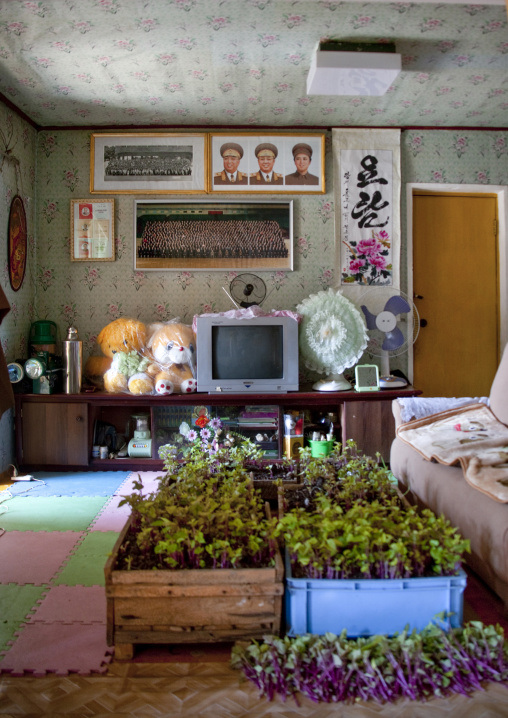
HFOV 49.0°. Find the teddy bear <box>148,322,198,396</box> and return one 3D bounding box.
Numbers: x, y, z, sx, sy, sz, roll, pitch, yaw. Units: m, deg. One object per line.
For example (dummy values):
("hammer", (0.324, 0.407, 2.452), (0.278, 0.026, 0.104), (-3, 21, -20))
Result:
("teddy bear", (-0.528, -0.002, 3.616), (0.318, 0.439, 0.269), (-5, 4, -8))

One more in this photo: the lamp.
("lamp", (0.526, -1.514, 2.891), (0.257, 0.065, 0.270), (0, 0, -7))

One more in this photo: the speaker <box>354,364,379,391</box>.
("speaker", (0.731, 0.122, 3.600), (0.163, 0.153, 0.078), (2, -11, -15))

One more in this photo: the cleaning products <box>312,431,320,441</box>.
("cleaning products", (0.391, 0.476, 3.461), (0.045, 0.040, 0.077), (2, 1, 9))

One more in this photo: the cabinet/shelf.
("cabinet/shelf", (-0.242, 0.418, 3.700), (2.604, 0.616, 0.479), (-4, 4, 2))

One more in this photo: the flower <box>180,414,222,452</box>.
("flower", (-0.351, 0.460, 3.460), (0.258, 0.225, 0.158), (3, -19, 19))

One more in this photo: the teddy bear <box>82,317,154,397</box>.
("teddy bear", (-0.896, -0.049, 3.824), (0.661, 0.627, 0.435), (0, -1, 8))

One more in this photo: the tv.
("tv", (-0.050, -0.051, 3.756), (0.847, 0.605, 0.465), (0, 7, -4))

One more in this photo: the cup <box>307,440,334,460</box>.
("cup", (0.416, 0.536, 3.400), (0.145, 0.081, 0.197), (-4, 5, 6))
